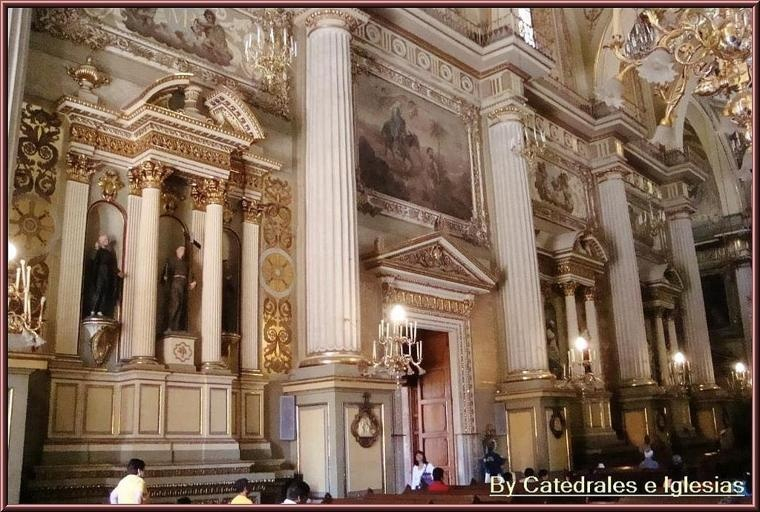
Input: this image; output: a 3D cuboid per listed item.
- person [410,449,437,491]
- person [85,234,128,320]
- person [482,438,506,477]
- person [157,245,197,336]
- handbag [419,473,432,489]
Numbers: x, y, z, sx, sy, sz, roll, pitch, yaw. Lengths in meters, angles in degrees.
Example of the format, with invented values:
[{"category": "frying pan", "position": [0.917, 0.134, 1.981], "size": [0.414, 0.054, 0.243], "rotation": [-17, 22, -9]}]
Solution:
[{"category": "person", "position": [0.683, 3.496, 9.822], "size": [0.376, 0.801, 0.180], "rotation": [-10, 2, -8]}, {"category": "person", "position": [-3.912, 0.332, 8.924], "size": [0.384, 1.117, 0.491], "rotation": [-17, -24, 39]}, {"category": "person", "position": [2.115, 3.811, 11.731], "size": [0.391, 0.750, 0.933], "rotation": [-4, -19, 8]}, {"category": "person", "position": [-3.079, 0.502, 9.460], "size": [0.558, 1.403, 0.449], "rotation": [-15, -23, 36]}, {"category": "handbag", "position": [0.695, 3.472, 9.644], "size": [0.146, 0.197, 0.053], "rotation": [2, -24, 30]}]
